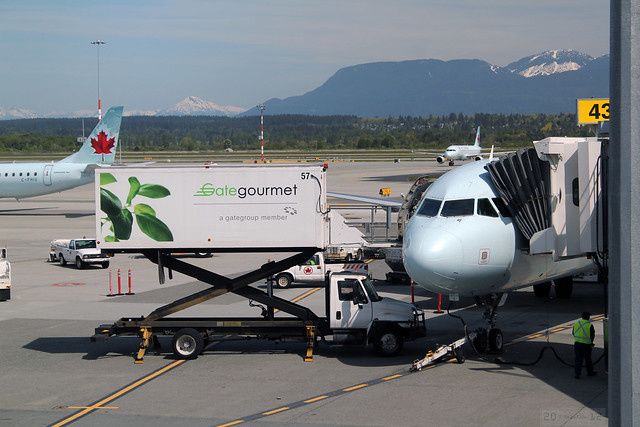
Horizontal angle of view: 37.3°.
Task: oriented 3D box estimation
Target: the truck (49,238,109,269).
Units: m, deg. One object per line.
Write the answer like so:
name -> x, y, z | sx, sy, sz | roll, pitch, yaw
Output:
truck -> -16.425, 2.757, 66.899 | 3.683, 2.439, 7.690 | 0, 0, -38

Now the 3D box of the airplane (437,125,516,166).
airplane -> 22.018, -9.637, 150.929 | 13.184, 5.178, 12.994 | 3, 5, 33
